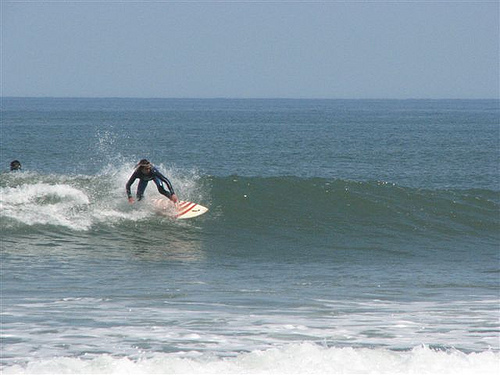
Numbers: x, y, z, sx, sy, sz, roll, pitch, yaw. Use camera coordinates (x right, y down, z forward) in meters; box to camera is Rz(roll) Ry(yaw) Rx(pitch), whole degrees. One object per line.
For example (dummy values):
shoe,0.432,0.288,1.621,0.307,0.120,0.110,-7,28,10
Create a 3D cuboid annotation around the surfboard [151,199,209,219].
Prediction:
surfboard,-2.366,0.763,29.410,2.477,0.280,0.642,12,26,21
